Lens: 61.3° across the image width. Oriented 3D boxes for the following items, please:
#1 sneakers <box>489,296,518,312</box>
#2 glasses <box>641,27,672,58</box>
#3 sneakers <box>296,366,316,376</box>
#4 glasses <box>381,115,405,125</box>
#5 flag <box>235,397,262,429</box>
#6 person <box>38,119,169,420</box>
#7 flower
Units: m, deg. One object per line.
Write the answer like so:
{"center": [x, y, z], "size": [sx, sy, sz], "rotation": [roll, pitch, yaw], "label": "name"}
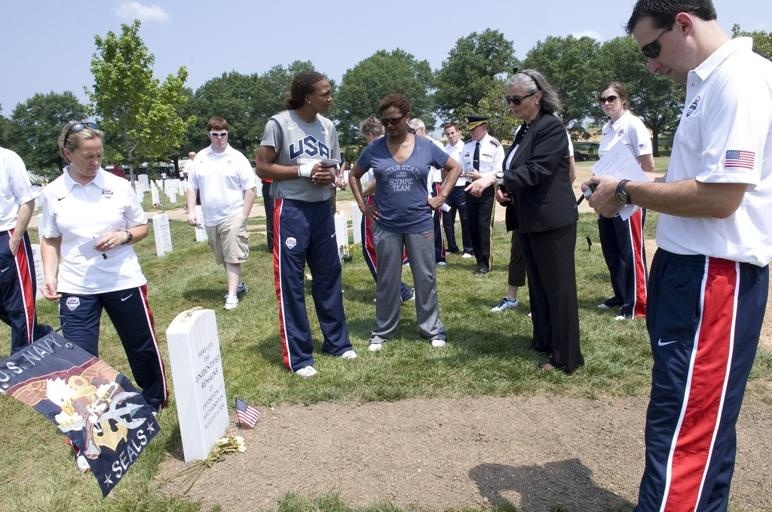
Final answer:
{"center": [1.529, 0.645, 8.280], "size": [0.455, 0.176, 0.151], "rotation": [-7, 10, -33], "label": "sneakers"}
{"center": [1.690, -1.336, 4.109], "size": [0.152, 0.049, 0.152], "rotation": [-42, -10, 14], "label": "glasses"}
{"center": [-0.794, 1.166, 6.473], "size": [0.211, 0.070, 0.103], "rotation": [-4, 10, -6], "label": "sneakers"}
{"center": [0.055, -1.388, 6.744], "size": [0.260, 0.091, 0.109], "rotation": [6, 14, 41], "label": "glasses"}
{"center": [-1.199, 1.394, 5.671], "size": [0.245, 0.305, 0.045], "rotation": [-5, 4, -31], "label": "flag"}
{"center": [-2.447, 0.159, 5.533], "size": [0.882, 2.566, 0.577], "rotation": [-7, 11, -21], "label": "person"}
{"center": [-1.438, 1.682, 5.124], "size": [0.640, 0.231, 0.273], "rotation": [-15, 34, -44], "label": "flower"}
